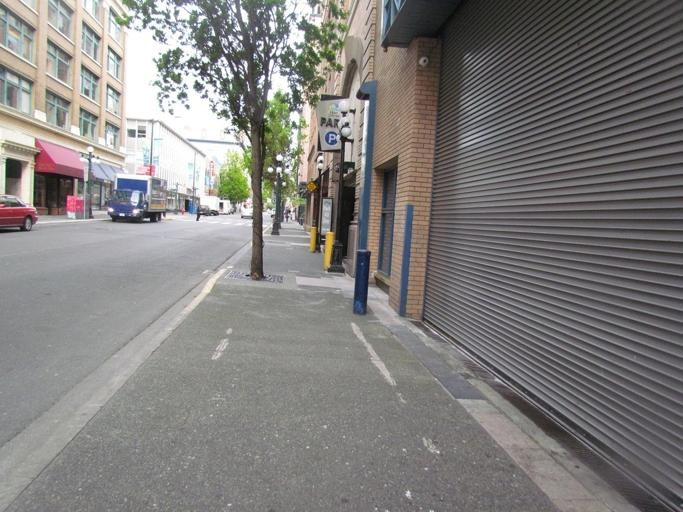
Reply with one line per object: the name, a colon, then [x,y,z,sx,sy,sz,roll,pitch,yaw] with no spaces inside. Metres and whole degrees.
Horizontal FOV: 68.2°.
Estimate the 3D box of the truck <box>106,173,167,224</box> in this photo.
truck: [-14.579,-4.044,36.061,2.219,3.058,5.109,1,3,-1]
